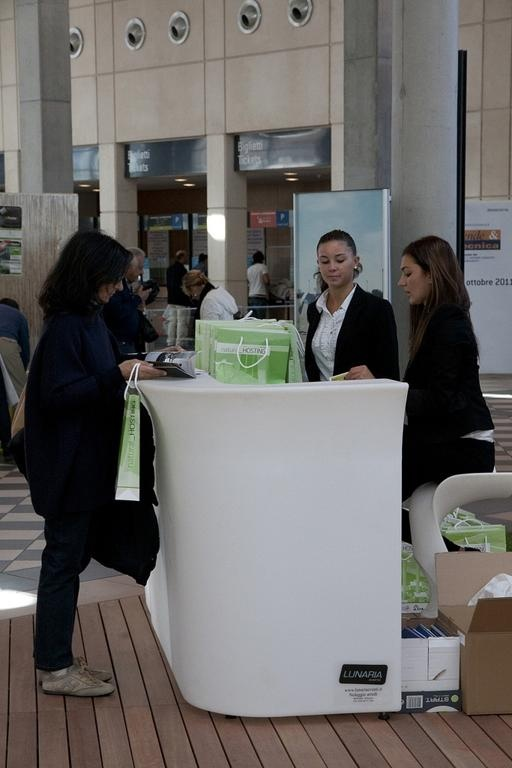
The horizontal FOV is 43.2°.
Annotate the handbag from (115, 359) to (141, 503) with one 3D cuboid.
[{"bbox_3d":[-0.329,0.118,1.681,0.061,0.269,0.105,-2,-1,4],"label":"handbag"}]

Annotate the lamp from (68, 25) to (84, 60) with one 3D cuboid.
[{"bbox_3d":[-3.994,-7.602,14.379,0.375,0.505,0.132,-3,-1,36],"label":"lamp"}]

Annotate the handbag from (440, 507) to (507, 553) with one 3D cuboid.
[{"bbox_3d":[0.856,0.576,2.538,0.245,0.096,0.255,-1,2,2],"label":"handbag"}]

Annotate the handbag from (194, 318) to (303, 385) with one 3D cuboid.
[{"bbox_3d":[-0.021,-0.122,2.351,0.253,0.212,0.329,-3,8,-9],"label":"handbag"}]

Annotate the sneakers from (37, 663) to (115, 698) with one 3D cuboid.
[{"bbox_3d":[-0.518,0.856,1.884,0.152,0.055,0.118,2,-9,-5],"label":"sneakers"}]

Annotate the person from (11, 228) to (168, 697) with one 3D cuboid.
[{"bbox_3d":[-0.481,0.242,1.850,0.377,0.942,0.442,-2,-1,-22],"label":"person"}]

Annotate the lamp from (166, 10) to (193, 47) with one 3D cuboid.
[{"bbox_3d":[-1.557,-7.218,13.188,0.548,0.588,0.206,21,26,23],"label":"lamp"}]

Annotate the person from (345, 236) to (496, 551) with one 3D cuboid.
[{"bbox_3d":[0.592,-0.065,2.057,0.280,0.929,0.366,-3,-1,20],"label":"person"}]
